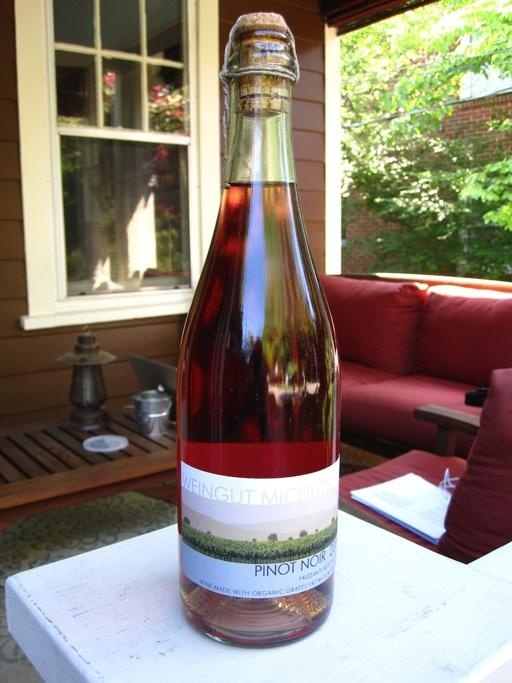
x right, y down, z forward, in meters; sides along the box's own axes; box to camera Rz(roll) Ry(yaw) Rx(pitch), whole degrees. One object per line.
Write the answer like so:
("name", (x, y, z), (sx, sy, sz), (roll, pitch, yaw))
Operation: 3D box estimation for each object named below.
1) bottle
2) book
("bottle", (0.008, -0.003, 0.369), (0.111, 0.355, 0.110), (2, -1, 0))
("book", (0.385, 0.384, 1.462), (0.168, 0.053, 0.165), (-9, 16, -42))
